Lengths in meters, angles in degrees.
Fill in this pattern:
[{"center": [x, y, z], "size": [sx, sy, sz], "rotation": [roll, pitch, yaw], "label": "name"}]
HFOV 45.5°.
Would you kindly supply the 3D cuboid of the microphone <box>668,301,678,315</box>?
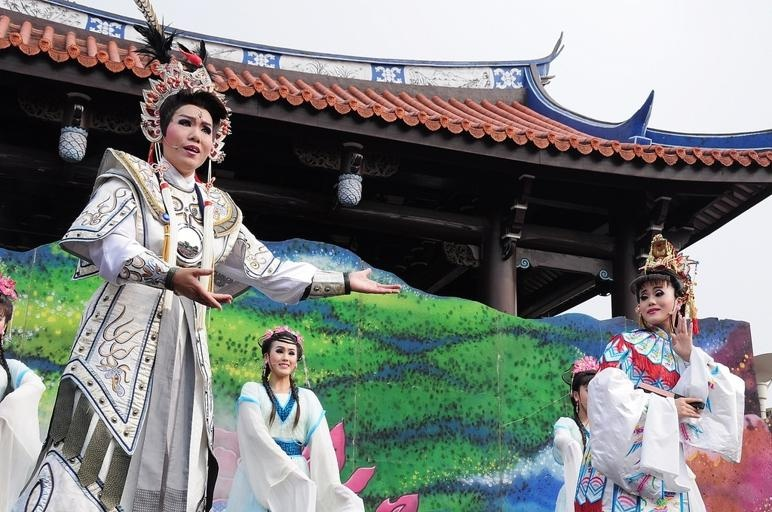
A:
[{"center": [2.124, 0.389, 6.747], "size": [0.067, 0.075, 0.085], "rotation": [2, 14, -3], "label": "microphone"}]
